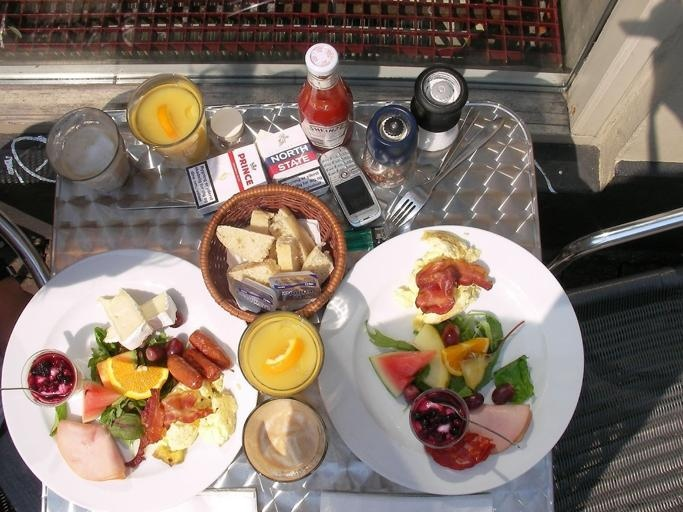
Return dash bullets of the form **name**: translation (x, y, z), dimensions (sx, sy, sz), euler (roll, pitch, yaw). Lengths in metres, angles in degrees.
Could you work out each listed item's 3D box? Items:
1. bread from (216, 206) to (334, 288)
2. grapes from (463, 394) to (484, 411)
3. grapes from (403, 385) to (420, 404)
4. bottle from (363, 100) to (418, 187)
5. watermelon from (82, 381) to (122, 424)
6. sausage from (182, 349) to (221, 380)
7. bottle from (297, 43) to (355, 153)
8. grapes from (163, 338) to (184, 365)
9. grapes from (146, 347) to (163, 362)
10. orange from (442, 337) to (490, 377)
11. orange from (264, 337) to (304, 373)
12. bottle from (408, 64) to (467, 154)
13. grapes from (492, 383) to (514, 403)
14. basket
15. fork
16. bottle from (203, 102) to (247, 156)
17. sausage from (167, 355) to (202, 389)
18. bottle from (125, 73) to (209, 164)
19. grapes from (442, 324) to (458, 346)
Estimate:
- **bread**: translation (-0.216, -0.026, 1.771), dimensions (0.311, 0.117, 0.265), euler (29, 97, 15)
- **grapes**: translation (0.442, 0.481, 1.736), dimensions (0.062, 0.026, 0.051), euler (-22, 75, -3)
- **grapes**: translation (0.225, 0.447, 1.710), dimensions (0.052, 0.056, 0.069), euler (0, 90, 5)
- **bottle**: translation (0.176, -0.380, 1.833), dimensions (0.183, 0.266, 0.183), euler (0, 85, 0)
- **watermelon**: translation (-0.798, 0.468, 1.719), dimensions (0.126, 0.051, 0.123), euler (-25, 115, -28)
- **sausage**: translation (-0.457, 0.351, 1.711), dimensions (0.063, 0.054, 0.146), euler (-44, 73, -8)
- **bottle**: translation (-0.058, -0.544, 1.812), dimensions (0.164, 0.454, 0.181), euler (0, 73, 0)
- **grapes**: translation (-0.556, 0.318, 1.771), dimensions (0.054, 0.041, 0.075), euler (10, 67, 30)
- **grapes**: translation (-0.619, 0.330, 1.758), dimensions (0.045, 0.050, 0.051), euler (-4, 64, 13)
- **orange**: translation (0.408, 0.326, 1.747), dimensions (0.148, 0.063, 0.109), euler (-32, 70, -9)
- **orange**: translation (-0.167, 0.324, 1.701), dimensions (0.094, 0.189, 0.047), euler (-22, 107, 22)
- **bottle**: translation (0.311, -0.511, 1.857), dimensions (0.171, 0.234, 0.174), euler (-1, 77, 2)
- **grapes**: translation (0.535, 0.457, 1.731), dimensions (0.066, 0.037, 0.064), euler (-3, 75, 3)
- **basket**: translation (-0.283, -0.062, 1.710), dimensions (0.308, 0.115, 0.321), euler (-19, 34, -15)
- **fork**: translation (0.356, -0.303, 1.912), dimensions (0.088, 0.053, 0.623), euler (44, 77, 6)
- **bottle**: translation (-0.435, -0.491, 1.956), dimensions (0.141, 0.111, 0.167), euler (-10, 75, 1)
- **sausage**: translation (-0.503, 0.372, 1.725), dimensions (0.136, 0.050, 0.069), euler (38, 108, 28)
- **bottle**: translation (-0.622, -0.506, 1.924), dimensions (0.193, 0.221, 0.224), euler (-9, 77, -34)
- **grapes**: translation (0.365, 0.263, 1.774), dimensions (0.059, 0.024, 0.066), euler (18, 87, -3)
